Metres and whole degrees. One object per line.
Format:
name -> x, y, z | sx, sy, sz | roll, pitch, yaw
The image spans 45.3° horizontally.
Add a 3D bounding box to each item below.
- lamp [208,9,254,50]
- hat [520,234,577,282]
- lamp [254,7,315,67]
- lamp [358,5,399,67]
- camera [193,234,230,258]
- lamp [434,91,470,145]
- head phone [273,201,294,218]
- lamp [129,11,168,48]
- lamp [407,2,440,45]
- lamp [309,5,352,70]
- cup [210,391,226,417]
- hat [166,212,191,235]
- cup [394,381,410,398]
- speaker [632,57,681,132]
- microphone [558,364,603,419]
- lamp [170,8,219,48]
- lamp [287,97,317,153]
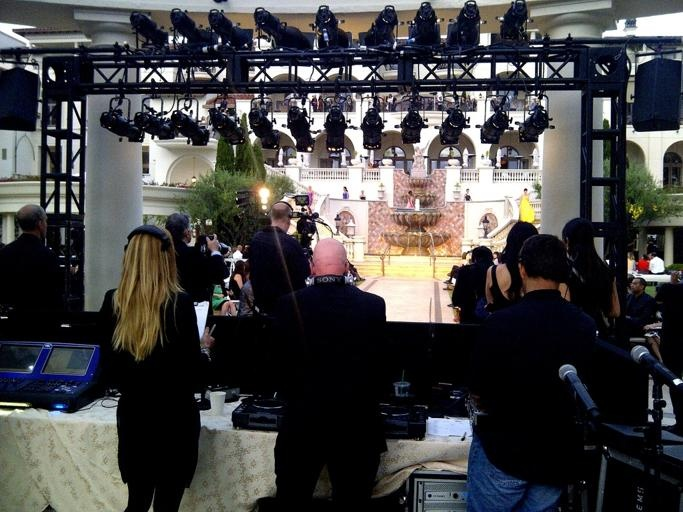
lamp -> -1.608, -3.245, 11.720 | 0.385, 0.389, 0.725 | 8, -2, 17
hat -> 1.641, 0.007, 6.457 | 0.314, 0.398, 0.394 | -1, 12, 7
lamp -> -0.818, -3.129, 11.956 | 0.807, 0.827, 1.075 | 0, 3, -2
lamp -> 0.555, -3.089, 11.565 | 0.463, 0.761, 0.658 | 0, 3, 1
camera -> -1.364, -0.127, 8.514 | 0.371, 0.244, 0.161 | 7, 22, 2
lamp -> 1.611, -1.880, 12.015 | 0.418, 0.487, 0.837 | 6, -18, 4
head phone -> -0.617, -0.493, 8.802 | 0.169, 0.192, 0.375 | 1, 3, 19
lamp -> -2.890, -3.357, 12.355 | 0.275, 0.376, 0.973 | -5, -5, 12
lamp -> 1.146, -3.163, 11.352 | 0.424, 0.618, 0.264 | 6, 40, 7
lamp -> -0.134, -3.093, 11.701 | 0.522, 0.853, 0.668 | 0, 3, -2
cup -> -1.089, 1.295, 7.224 | 0.168, 0.188, 0.177 | 0, -5, 0
hat -> -1.648, -0.334, 8.246 | 0.219, 0.188, 0.220 | -5, -4, -40
cup -> 0.541, 1.186, 7.263 | 0.112, 0.090, 0.116 | 0, -3, 0
speaker -> 4.219, -2.170, 10.959 | 0.628, 0.936, 0.567 | 1, 3, 22
microphone -> 1.736, 0.974, 5.946 | 0.151, 0.174, 0.465 | -6, 22, -2
lamp -> -2.103, -3.270, 12.042 | 0.442, 0.424, 0.858 | 12, -6, 17
lamp -> -0.608, -1.880, 12.213 | 0.319, 0.321, 0.937 | 2, -12, 5
